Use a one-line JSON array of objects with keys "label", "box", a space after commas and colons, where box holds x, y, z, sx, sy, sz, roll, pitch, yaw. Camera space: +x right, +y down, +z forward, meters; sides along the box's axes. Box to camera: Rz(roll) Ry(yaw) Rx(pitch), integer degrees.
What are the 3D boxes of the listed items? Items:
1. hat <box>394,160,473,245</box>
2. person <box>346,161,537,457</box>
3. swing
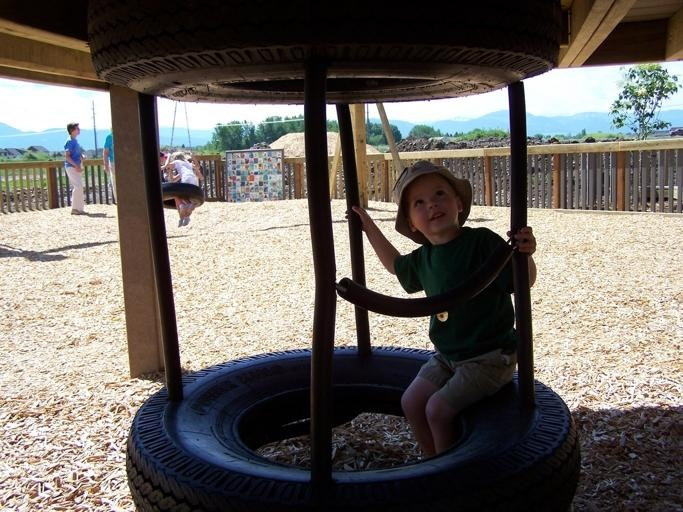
[{"label": "hat", "box": [0.438, -0.225, 2.517, 0.370, 0.189, 0.347, -12, 5, -12]}, {"label": "person", "box": [0.449, 0.215, 2.400, 0.469, 1.200, 0.861, -5, 10, -26]}, {"label": "swing", "box": [-2.535, -1.485, 9.164, 0.712, 1.772, 0.690, 5, -9, -44]}]
